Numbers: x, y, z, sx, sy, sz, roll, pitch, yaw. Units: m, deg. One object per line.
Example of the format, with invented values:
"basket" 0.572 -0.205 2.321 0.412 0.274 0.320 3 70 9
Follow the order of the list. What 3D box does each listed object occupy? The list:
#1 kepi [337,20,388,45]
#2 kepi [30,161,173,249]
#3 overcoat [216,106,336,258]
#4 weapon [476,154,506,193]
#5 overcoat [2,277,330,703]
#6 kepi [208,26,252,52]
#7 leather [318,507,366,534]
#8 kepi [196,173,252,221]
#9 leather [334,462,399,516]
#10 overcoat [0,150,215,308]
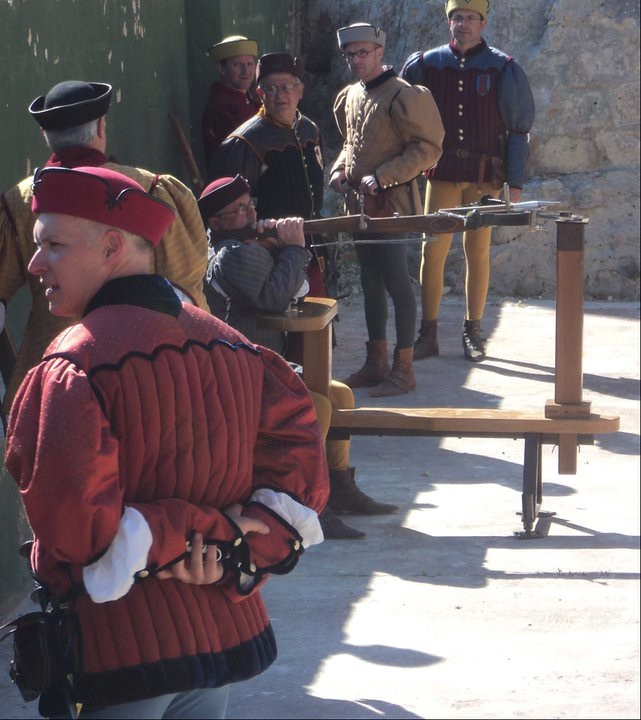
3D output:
"kepi" 0.209 -1.633 7.548 0.229 0.124 0.257 -2 13 0
"kepi" -0.517 -0.378 3.597 0.232 0.091 0.212 17 1 2
"overcoat" -0.200 -0.940 7.059 0.435 0.732 0.874 14 21 36
"weapon" 0.969 -1.059 8.468 0.151 0.195 0.082 3 10 -1
"overcoat" -0.344 0.291 3.623 0.783 0.993 0.349 -10 15 -31
"kepi" -0.520 -1.814 8.537 0.168 0.071 0.192 -15 10 -40
"leather" 0.073 0.634 5.880 0.226 0.097 0.074 10 10 17
"kepi" -0.374 -0.651 5.865 0.206 0.074 0.150 -31 5 6
"leather" 0.136 0.549 6.178 0.351 0.223 0.128 -1 7 -6
"overcoat" -0.616 -0.359 4.204 0.663 0.537 0.229 -4 14 -9
